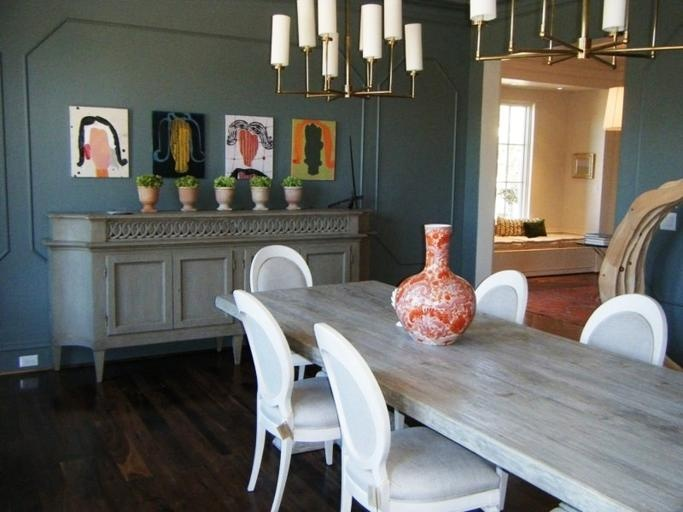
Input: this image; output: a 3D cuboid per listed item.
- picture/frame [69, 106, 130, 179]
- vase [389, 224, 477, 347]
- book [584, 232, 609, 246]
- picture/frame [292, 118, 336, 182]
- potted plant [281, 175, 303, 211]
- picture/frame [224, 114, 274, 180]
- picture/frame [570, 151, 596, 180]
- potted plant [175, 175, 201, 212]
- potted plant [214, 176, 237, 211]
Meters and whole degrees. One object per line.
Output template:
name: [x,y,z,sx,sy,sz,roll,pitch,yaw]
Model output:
picture/frame: [-2.042,-0.957,4.477,0.557,0.764,0.034,-3,12,-30]
vase: [0.396,0.111,2.630,0.467,0.673,0.483,0,11,3]
book: [2.415,-0.148,5.081,0.190,0.106,0.244,-12,17,-42]
picture/frame: [-0.296,-1.050,5.235,0.612,0.803,0.056,-1,3,-34]
potted plant: [-0.453,-0.571,4.973,0.259,0.387,0.271,-1,9,-8]
picture/frame: [-0.881,-1.019,4.971,0.590,0.783,0.057,-3,13,-31]
picture/frame: [4.108,-1.538,9.137,0.050,0.474,0.498,-1,5,-20]
potted plant: [-1.325,-0.538,4.638,0.165,0.293,0.189,-7,14,-29]
potted plant: [-1.072,-0.556,4.781,0.209,0.293,0.226,3,13,15]
